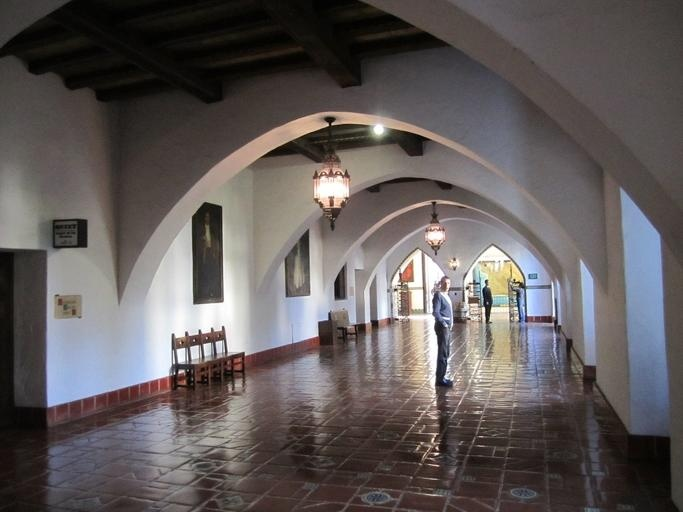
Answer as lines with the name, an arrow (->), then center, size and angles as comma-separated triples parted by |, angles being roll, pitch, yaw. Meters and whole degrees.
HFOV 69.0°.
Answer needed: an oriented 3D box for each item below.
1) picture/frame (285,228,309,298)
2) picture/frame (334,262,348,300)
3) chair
picture/frame -> -1.259, 0.356, 14.615 | 0.022, 1.702, 1.475 | -1, -1, 24
picture/frame -> -0.038, 0.921, 17.911 | 0.101, 1.566, 1.238 | -1, -3, 22
chair -> -2.687, 1.996, 10.125 | 0.811, 1.069, 1.740 | -4, -6, 15
